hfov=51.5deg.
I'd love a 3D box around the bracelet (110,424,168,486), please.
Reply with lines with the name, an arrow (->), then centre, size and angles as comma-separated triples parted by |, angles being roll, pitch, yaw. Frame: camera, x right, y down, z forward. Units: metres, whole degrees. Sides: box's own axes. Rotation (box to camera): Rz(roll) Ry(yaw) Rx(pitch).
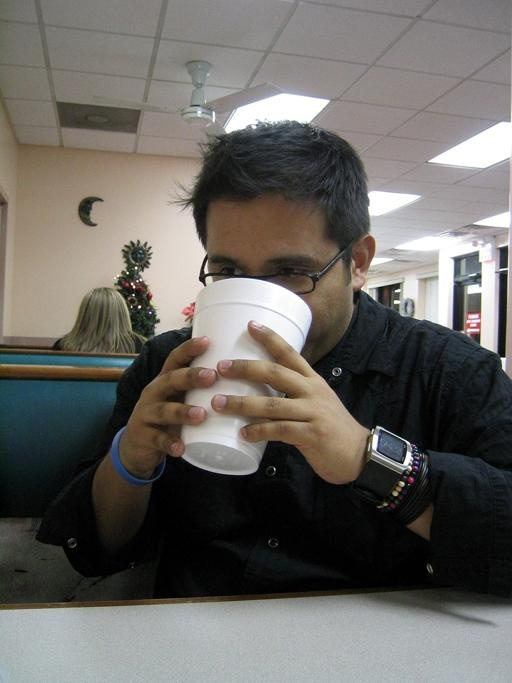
bracelet -> -0.164, 0.166, 0.729 | 0.079, 0.089, 0.033 | -2, -22, -36

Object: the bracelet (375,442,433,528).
bracelet -> 0.164, 0.175, 0.623 | 0.046, 0.061, 0.077 | 28, -9, 4

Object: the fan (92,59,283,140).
fan -> -0.351, -1.753, 3.829 | 0.731, 0.246, 0.698 | 2, -13, -4

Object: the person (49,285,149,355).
person -> -0.888, -0.081, 3.061 | 0.722, 0.468, 0.347 | 2, -3, -12

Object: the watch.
watch -> 0.141, 0.142, 0.587 | 0.069, 0.090, 0.031 | 1, -4, 3

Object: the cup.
cup -> -0.010, 0.041, 0.557 | 0.135, 0.209, 0.107 | 1, -4, 1
